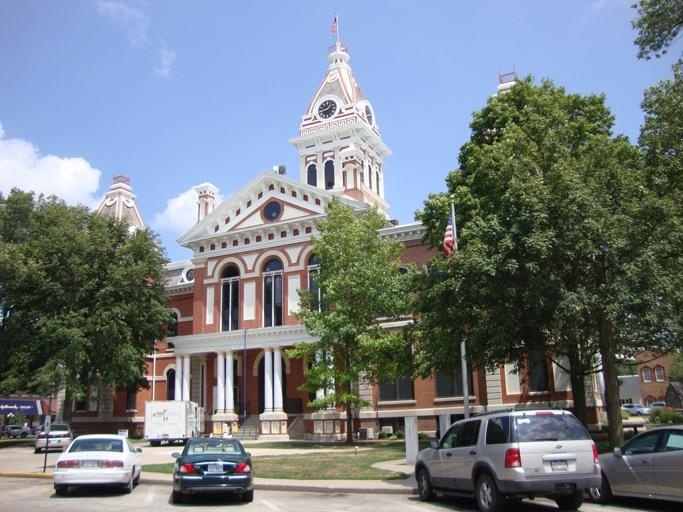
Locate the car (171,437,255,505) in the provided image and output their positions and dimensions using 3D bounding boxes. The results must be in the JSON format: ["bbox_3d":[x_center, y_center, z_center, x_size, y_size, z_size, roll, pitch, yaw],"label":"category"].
[{"bbox_3d":[-3.597,6.019,18.373,2.151,1.777,1.627,0,-15,-7],"label":"car"}]

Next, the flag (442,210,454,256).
[{"bbox_3d":[4.176,-0.876,25.432,0.459,2.134,1.735,-4,-14,8],"label":"flag"}]

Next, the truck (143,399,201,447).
[{"bbox_3d":[-10.971,10.883,42.549,2.846,2.764,5.301,-1,-14,-3],"label":"truck"}]

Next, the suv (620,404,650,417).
[{"bbox_3d":[32.316,16.877,71.799,2.531,1.326,8.128,-8,-16,21],"label":"suv"}]

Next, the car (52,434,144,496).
[{"bbox_3d":[-7.422,6.295,19.786,2.338,1.740,1.726,5,-16,-24],"label":"car"}]
